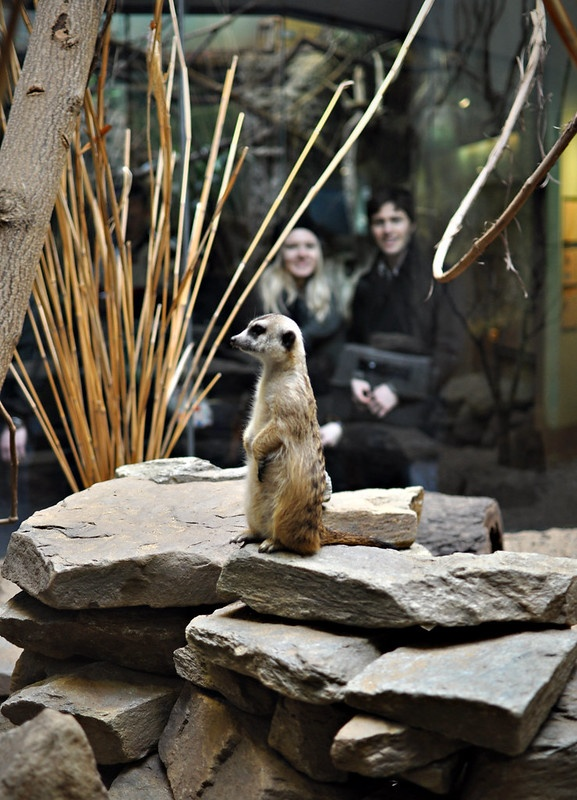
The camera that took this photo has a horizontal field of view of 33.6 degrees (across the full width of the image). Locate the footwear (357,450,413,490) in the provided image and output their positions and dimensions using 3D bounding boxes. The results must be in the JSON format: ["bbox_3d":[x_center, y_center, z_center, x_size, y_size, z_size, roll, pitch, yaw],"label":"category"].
[{"bbox_3d":[0.435,0.291,4.516,0.221,0.185,0.050,-7,20,-3],"label":"footwear"}]

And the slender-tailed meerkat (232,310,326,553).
[{"bbox_3d":[-0.031,0.089,2.606,0.258,0.654,0.258,1,6,4],"label":"slender-tailed meerkat"}]

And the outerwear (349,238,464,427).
[{"bbox_3d":[0.516,-0.288,4.220,0.380,0.860,0.368,-2,6,-22],"label":"outerwear"}]
